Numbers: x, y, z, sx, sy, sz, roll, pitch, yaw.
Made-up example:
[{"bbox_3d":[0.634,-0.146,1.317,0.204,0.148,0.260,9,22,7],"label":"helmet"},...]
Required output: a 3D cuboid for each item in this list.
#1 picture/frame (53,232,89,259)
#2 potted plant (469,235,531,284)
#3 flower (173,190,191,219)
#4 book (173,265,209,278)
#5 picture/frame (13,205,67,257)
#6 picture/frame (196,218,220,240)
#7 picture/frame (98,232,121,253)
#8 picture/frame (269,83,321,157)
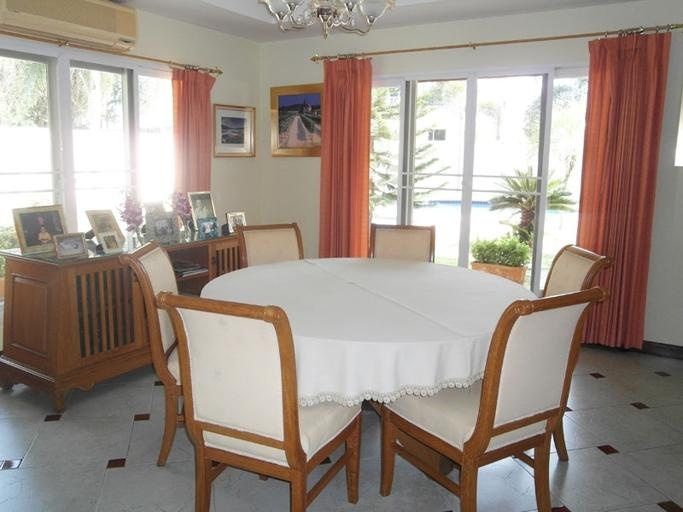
[{"bbox_3d":[-1.890,-0.069,3.490,0.012,0.169,0.184,-14,-7,34],"label":"picture/frame"},{"bbox_3d":[1.659,-0.047,5.316,0.687,0.661,0.469,7,15,26],"label":"potted plant"},{"bbox_3d":[-1.383,-0.438,4.333,0.132,0.148,0.316,-16,37,-2],"label":"flower"},{"bbox_3d":[-1.270,0.121,4.164,0.134,0.036,0.134,9,16,29],"label":"book"},{"bbox_3d":[-2.120,-0.175,3.536,0.026,0.379,0.358,-6,-2,36],"label":"picture/frame"},{"bbox_3d":[-1.173,-0.239,4.397,0.179,0.262,0.249,-10,12,-26],"label":"picture/frame"},{"bbox_3d":[-1.703,-0.098,3.658,0.006,0.151,0.145,-23,-1,23],"label":"picture/frame"},{"bbox_3d":[-0.516,-1.574,5.731,0.758,0.835,0.056,6,16,27],"label":"picture/frame"}]
